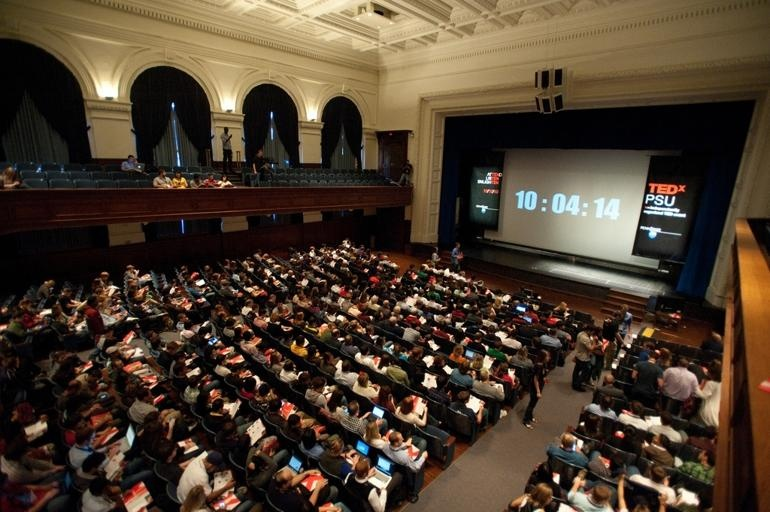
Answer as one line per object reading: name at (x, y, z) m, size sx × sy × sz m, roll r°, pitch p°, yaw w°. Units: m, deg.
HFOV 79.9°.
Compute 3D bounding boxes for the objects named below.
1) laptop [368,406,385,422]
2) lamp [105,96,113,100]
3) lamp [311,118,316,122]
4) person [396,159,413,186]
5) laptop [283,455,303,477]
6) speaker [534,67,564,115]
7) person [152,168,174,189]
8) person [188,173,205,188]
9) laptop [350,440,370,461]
laptop at (-0.157, 3.559, 10.449) m, size 0.340 × 0.256 × 0.240 m, roll 8°, pitch -3°, yaw 7°
lamp at (-10.105, -5.827, 16.995) m, size 0.088 × 0.174 × 0.273 m, roll 14°, pitch 18°, yaw 38°
lamp at (-3.430, -6.609, 22.317) m, size 0.222 × 0.183 × 0.068 m, roll -11°, pitch 19°, yaw -42°
person at (1.024, -4.171, 23.013) m, size 0.654 × 1.225 × 0.734 m, roll 12°, pitch 17°, yaw 32°
laptop at (-1.831, 4.276, 9.512) m, size 0.388 × 0.292 × 0.385 m, roll -21°, pitch 1°, yaw -42°
speaker at (5.900, -5.990, 16.568) m, size 0.983 × 1.433 × 0.815 m, roll 10°, pitch 16°, yaw 27°
person at (-7.816, -2.737, 16.273) m, size 0.461 × 0.707 × 0.797 m, roll -8°, pitch 23°, yaw -17°
person at (-6.795, -2.770, 16.725) m, size 0.498 × 0.437 × 0.927 m, roll -3°, pitch 16°, yaw -23°
laptop at (-0.490, 4.111, 9.802) m, size 0.384 × 0.276 × 0.321 m, roll 22°, pitch 19°, yaw 30°
